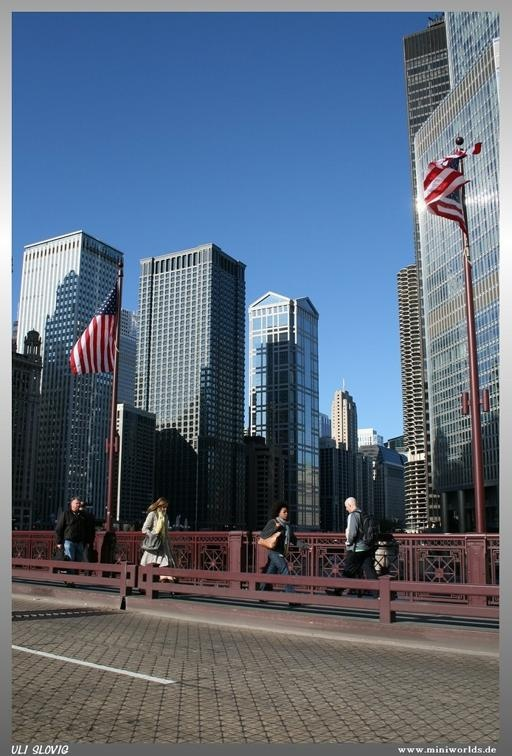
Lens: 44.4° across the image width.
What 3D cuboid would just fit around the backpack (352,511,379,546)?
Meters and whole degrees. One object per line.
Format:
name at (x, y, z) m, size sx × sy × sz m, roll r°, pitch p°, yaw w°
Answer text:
backpack at (1.975, 2.706, 11.271) m, size 0.452 × 0.657 × 0.275 m, roll 1°, pitch -11°, yaw -1°

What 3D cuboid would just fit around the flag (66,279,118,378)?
flag at (-5.170, -1.669, 20.486) m, size 1.374 × 2.923 × 0.860 m, roll 2°, pitch -11°, yaw -5°

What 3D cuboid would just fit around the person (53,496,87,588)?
person at (-4.711, 3.864, 16.009) m, size 0.765 × 1.604 × 1.288 m, roll 5°, pitch -12°, yaw -17°

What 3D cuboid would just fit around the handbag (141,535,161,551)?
handbag at (-2.365, 3.719, 14.177) m, size 0.417 × 0.352 × 0.230 m, roll 0°, pitch -12°, yaw 4°

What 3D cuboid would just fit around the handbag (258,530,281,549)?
handbag at (0.255, 3.177, 12.282) m, size 0.461 × 0.330 × 0.164 m, roll -5°, pitch -13°, yaw 27°
